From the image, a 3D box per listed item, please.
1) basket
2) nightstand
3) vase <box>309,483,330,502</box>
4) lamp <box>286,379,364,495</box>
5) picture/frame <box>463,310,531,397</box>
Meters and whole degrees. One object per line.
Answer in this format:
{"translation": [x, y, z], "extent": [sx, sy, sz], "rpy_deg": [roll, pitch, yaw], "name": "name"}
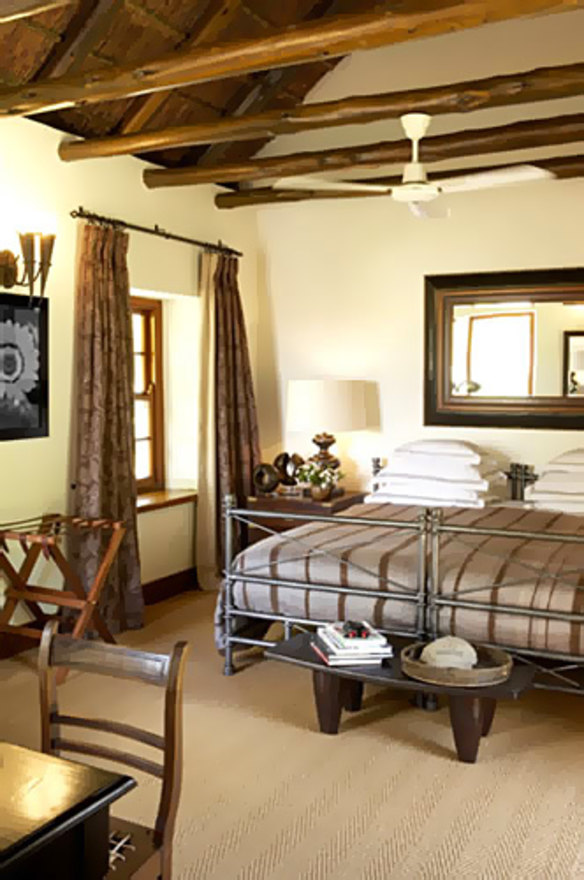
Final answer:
{"translation": [0.571, 0.759, 2.312], "extent": [0.384, 0.132, 0.298], "rpy_deg": [0, -1, 9], "name": "basket"}
{"translation": [0.020, 0.489, 4.541], "extent": [0.538, 0.521, 0.555], "rpy_deg": [2, 4, 25], "name": "nightstand"}
{"translation": [0.183, 0.376, 4.588], "extent": [0.120, 0.085, 0.121], "rpy_deg": [-2, 0, 10], "name": "vase"}
{"translation": [0.214, -0.021, 4.678], "extent": [0.525, 0.745, 0.566], "rpy_deg": [-5, -8, 37], "name": "lamp"}
{"translation": [1.447, -0.570, 4.581], "extent": [0.440, 0.594, 0.023], "rpy_deg": [-4, 13, -4], "name": "picture/frame"}
